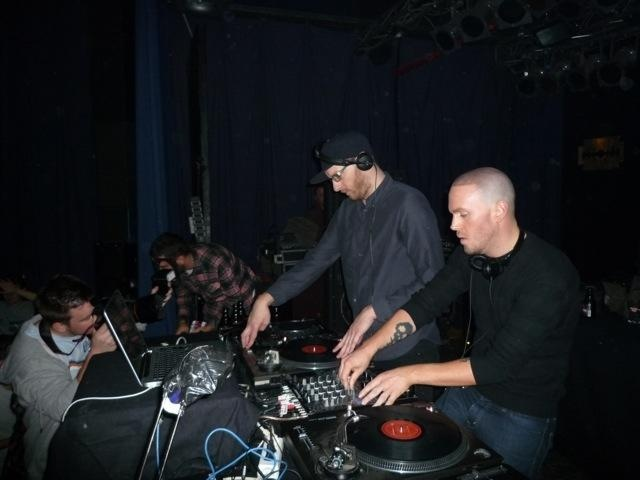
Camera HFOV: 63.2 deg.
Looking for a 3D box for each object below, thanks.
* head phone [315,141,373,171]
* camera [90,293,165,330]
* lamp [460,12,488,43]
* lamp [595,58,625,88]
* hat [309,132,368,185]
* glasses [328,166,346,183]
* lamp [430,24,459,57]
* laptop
[{"bbox_3d":[0.133,-0.514,3.024,0.255,0.140,0.186,-2,14,6],"label":"head phone"},{"bbox_3d":[-1.162,0.373,3.191,0.392,0.160,0.298,12,11,-14],"label":"camera"},{"bbox_3d":[1.587,-2.236,5.428,0.293,0.225,0.187,0,8,32],"label":"lamp"},{"bbox_3d":[3.024,-1.758,5.433,0.118,0.226,0.262,-8,8,-32],"label":"lamp"},{"bbox_3d":[0.123,-0.526,3.046,0.340,0.183,0.248,-24,14,2],"label":"hat"},{"bbox_3d":[0.103,-0.383,3.020,0.022,0.082,0.077,24,23,24],"label":"glasses"},{"bbox_3d":[1.401,-2.254,5.804,0.212,0.229,0.344,-4,6,-6],"label":"lamp"},{"bbox_3d":[-0.752,0.463,2.633,0.495,0.350,0.506,-1,10,-7],"label":"laptop"}]
